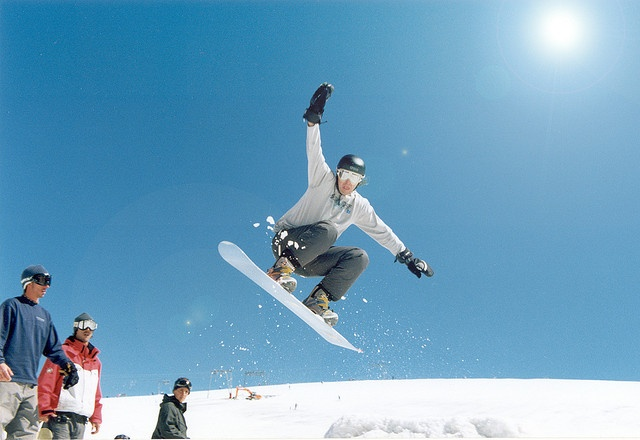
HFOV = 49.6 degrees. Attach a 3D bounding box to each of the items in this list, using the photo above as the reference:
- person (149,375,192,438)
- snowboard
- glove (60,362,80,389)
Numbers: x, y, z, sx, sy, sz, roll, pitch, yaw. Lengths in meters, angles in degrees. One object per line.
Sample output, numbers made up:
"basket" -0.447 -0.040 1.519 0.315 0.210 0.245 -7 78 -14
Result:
"person" -2.760 3.495 12.867 0.627 1.040 0.541 6 -40 -19
"snowboard" -0.314 1.191 13.909 3.767 0.314 0.542 37 -35 -7
"glove" -4.688 2.891 12.972 0.433 0.344 0.186 -51 -44 6
